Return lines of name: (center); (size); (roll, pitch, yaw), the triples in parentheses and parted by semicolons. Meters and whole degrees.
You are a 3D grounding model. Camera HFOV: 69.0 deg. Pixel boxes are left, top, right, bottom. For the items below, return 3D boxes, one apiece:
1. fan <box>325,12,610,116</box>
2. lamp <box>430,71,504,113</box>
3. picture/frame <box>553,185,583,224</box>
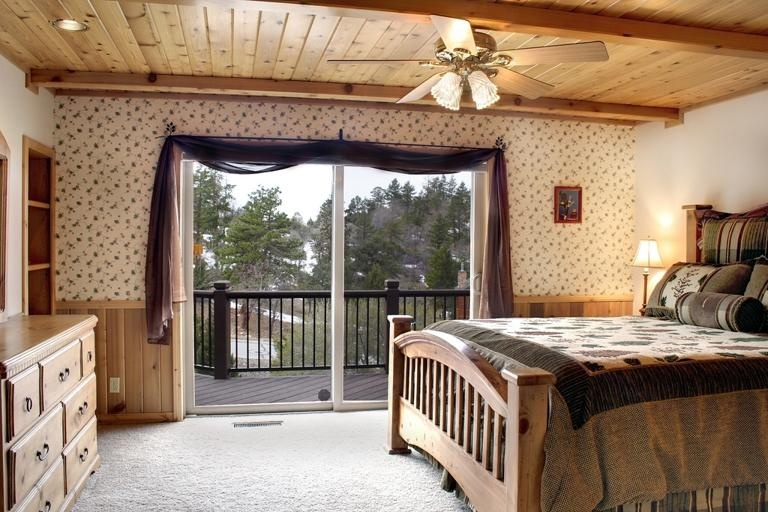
fan: (0.748, -1.304, 3.824); (1.105, 0.599, 1.118); (-2, 10, -9)
lamp: (0.575, -1.130, 3.710); (0.412, 0.139, 0.355); (7, 40, 18)
picture/frame: (1.916, -0.549, 5.856); (0.450, 0.476, 0.036); (0, 2, -19)
